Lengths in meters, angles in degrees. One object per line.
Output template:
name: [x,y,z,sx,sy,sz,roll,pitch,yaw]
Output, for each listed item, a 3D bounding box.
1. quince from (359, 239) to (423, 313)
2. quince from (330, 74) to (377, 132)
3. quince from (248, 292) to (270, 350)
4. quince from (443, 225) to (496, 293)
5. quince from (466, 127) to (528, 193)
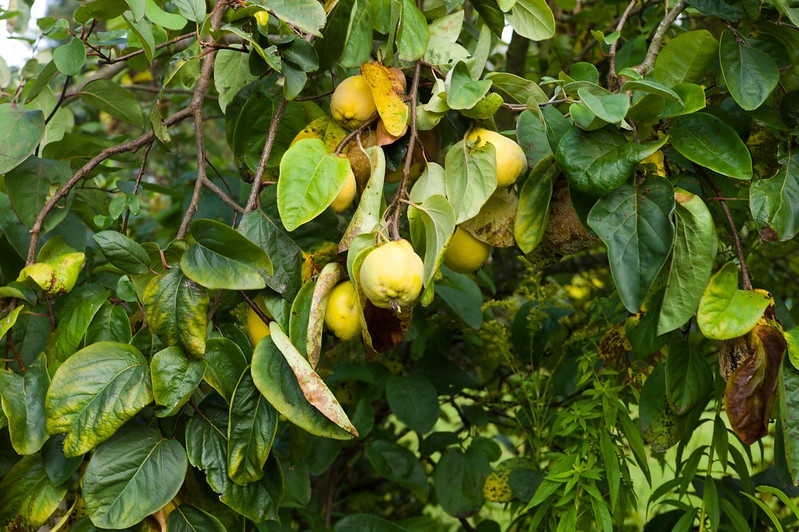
quince: [-0.012,0.024,1.686,0.116,0.170,0.132,-6,-43,6]
quince: [-0.102,-0.355,1.836,0.107,0.150,0.118,-2,-57,-1]
quince: [-0.302,0.115,1.789,0.047,0.091,0.088,4,-36,-15]
quince: [0.139,-0.035,1.837,0.087,0.111,0.093,10,10,43]
quince: [0.217,-0.226,1.780,0.069,0.082,0.108,-9,-43,27]
